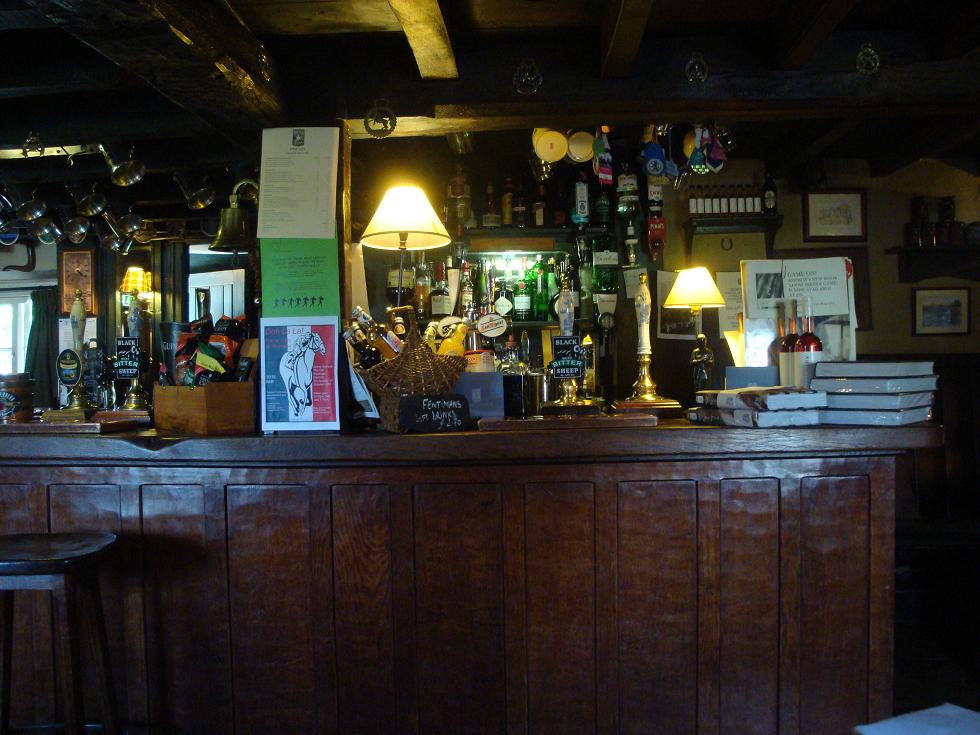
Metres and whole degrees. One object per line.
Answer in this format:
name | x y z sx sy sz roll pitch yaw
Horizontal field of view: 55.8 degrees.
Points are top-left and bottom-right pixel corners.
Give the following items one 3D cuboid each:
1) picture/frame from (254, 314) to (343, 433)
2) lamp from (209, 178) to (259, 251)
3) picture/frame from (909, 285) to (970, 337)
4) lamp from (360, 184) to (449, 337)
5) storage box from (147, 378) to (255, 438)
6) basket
picture/frame | -0.804 0.031 3.930 0.511 0.671 0.034 -1 -5 3
lamp | -1.545 -0.944 5.651 0.333 0.439 0.294 -1 1 -34
picture/frame | 3.327 -0.412 6.822 0.387 0.353 0.027 1 -3 1
lamp | -0.432 -0.504 4.614 0.439 0.734 0.426 -3 -5 31
storage box | -1.227 0.174 3.991 0.426 0.226 0.166 0 12 -18
basket | -0.342 0.041 4.032 0.340 0.431 0.442 2 17 35
